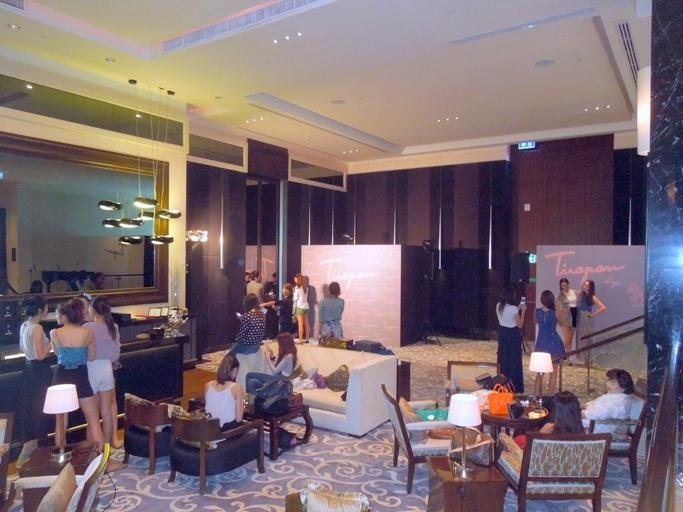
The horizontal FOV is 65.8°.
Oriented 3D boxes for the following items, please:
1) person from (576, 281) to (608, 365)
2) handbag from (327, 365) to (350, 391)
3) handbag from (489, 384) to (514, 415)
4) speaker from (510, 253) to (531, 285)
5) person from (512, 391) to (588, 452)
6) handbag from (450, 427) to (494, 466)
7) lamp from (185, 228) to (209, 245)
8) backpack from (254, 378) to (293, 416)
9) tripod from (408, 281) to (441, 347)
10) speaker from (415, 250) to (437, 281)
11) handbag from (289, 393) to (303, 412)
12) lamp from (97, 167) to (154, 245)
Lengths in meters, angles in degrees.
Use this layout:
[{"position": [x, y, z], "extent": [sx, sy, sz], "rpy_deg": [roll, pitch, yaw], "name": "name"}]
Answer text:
[{"position": [5.150, 1.370, 10.981], "extent": [0.508, 1.731, 1.100], "rpy_deg": [7, 13, 27], "name": "person"}, {"position": [-0.084, 1.833, 7.928], "extent": [0.100, 0.321, 0.327], "rpy_deg": [43, 11, -37], "name": "handbag"}, {"position": [2.052, 1.851, 6.793], "extent": [0.269, 0.330, 0.156], "rpy_deg": [1, 0, 9], "name": "handbag"}, {"position": [4.631, 0.292, 13.592], "extent": [0.499, 0.816, 0.214], "rpy_deg": [8, 13, 28], "name": "speaker"}, {"position": [2.366, 1.887, 5.889], "extent": [0.722, 0.757, 0.463], "rpy_deg": [-6, -1, 43], "name": "person"}, {"position": [1.413, 2.055, 5.692], "extent": [0.457, 0.335, 0.262], "rpy_deg": [-3, -11, 32], "name": "handbag"}, {"position": [-3.098, -0.426, 11.426], "extent": [0.193, 0.343, 0.667], "rpy_deg": [11, 16, 39], "name": "lamp"}, {"position": [-0.900, 1.849, 6.913], "extent": [0.336, 0.168, 0.496], "rpy_deg": [4, 13, 22], "name": "backpack"}, {"position": [2.220, 1.561, 14.204], "extent": [0.334, 1.470, 1.325], "rpy_deg": [-2, 7, 17], "name": "tripod"}, {"position": [2.359, 0.253, 14.314], "extent": [0.274, 1.005, 1.441], "rpy_deg": [6, 13, 21], "name": "speaker"}, {"position": [-0.614, 1.977, 7.151], "extent": [0.125, 0.125, 0.190], "rpy_deg": [2, 5, 16], "name": "handbag"}, {"position": [-3.859, -0.729, 9.556], "extent": [0.881, 1.151, 0.848], "rpy_deg": [-4, -10, -17], "name": "lamp"}]
